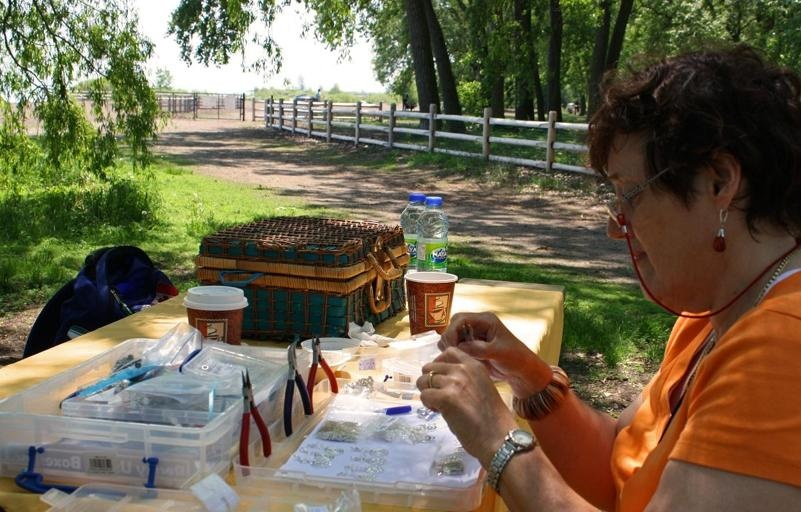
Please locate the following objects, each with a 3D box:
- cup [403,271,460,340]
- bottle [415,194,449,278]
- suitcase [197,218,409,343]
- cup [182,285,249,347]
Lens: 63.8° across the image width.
[{"bbox_3d":[0.165,0.225,3.100,0.276,0.293,0.278,0,10,0],"label":"cup"},{"bbox_3d":[0.178,-0.113,3.466,0.165,0.419,0.225,2,2,-1],"label":"bottle"},{"bbox_3d":[-0.462,0.092,3.316,0.796,0.714,0.787,-1,-1,16],"label":"suitcase"},{"bbox_3d":[-0.781,0.265,2.732,0.247,0.226,0.102,-4,15,-21],"label":"cup"}]
